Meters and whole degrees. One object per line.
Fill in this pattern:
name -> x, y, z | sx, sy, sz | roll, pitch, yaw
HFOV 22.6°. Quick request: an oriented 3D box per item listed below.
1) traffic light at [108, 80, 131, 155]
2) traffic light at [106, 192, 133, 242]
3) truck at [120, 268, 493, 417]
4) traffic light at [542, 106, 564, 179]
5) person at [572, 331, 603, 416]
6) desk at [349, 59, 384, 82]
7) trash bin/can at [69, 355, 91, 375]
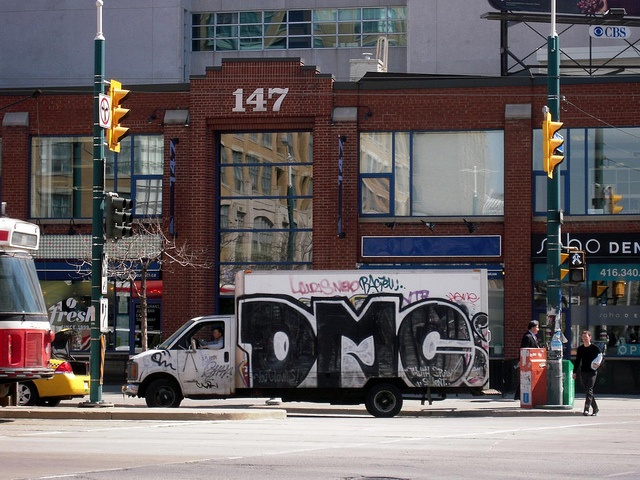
traffic light -> -5.826, -3.491, 46.305 | 0.656, 1.781, 0.594 | 1, 1, 5
traffic light -> -5.820, -0.634, 46.123 | 0.751, 1.348, 0.511 | 0, -2, -9
truck -> -0.116, 3.017, 47.720 | 11.133, 4.522, 3.754 | -1, 5, 13
traffic light -> 6.807, -2.779, 47.170 | 0.623, 2.417, 0.435 | 0, -1, 15
person -> 7.808, 3.999, 46.928 | 0.912, 2.460, 0.725 | -2, -4, 31
desk -> 1.646, -6.377, 59.766 | 1.090, 0.701, 1.106 | 0, 0, 11
trash bin/can -> -7.284, 3.818, 48.519 | 0.766, 0.620, 1.270 | 2, -8, -8
